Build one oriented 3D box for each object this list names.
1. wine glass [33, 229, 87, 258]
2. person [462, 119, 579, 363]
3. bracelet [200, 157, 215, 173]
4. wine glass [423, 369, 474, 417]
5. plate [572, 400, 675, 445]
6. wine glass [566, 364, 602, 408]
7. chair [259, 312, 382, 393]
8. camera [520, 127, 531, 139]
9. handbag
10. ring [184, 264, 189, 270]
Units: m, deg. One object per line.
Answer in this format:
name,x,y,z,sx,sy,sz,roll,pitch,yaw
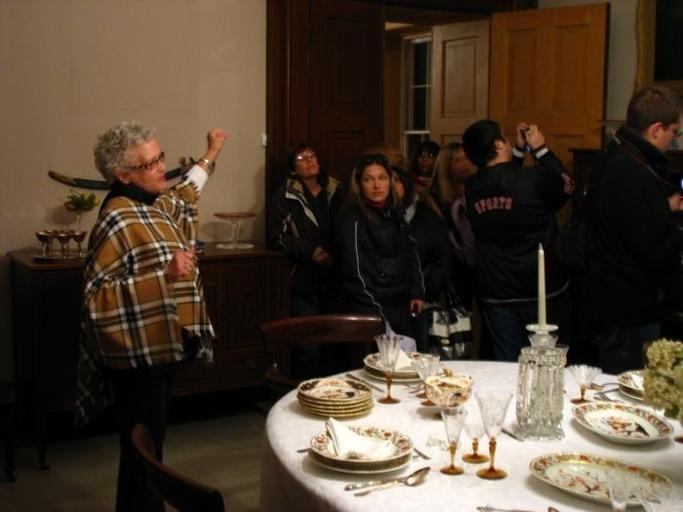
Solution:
wine glass,-1.811,-0.097,3.859,0.228,0.147,0.278,1,1,-10
person,1.066,-0.100,3.587,0.604,1.410,1.131,5,12,25
bracelet,-0.691,-0.470,3.065,0.076,0.087,0.052,3,10,40
wine glass,0.355,0.451,1.928,0.156,0.156,0.179,0,-1,9
plate,0.863,0.513,1.824,0.238,0.044,0.250,1,10,32
wine glass,0.865,0.445,2.090,0.113,0.104,0.113,-12,-21,41
chair,-0.107,0.378,2.782,0.379,0.542,0.359,0,-3,-15
camera,1.149,-0.768,3.668,0.048,0.053,0.097,-20,-15,7
handbag,0.691,0.446,3.711,0.297,0.349,0.179,-6,20,6
ring,-0.601,0.037,2.283,0.019,0.021,0.005,2,-6,-40
